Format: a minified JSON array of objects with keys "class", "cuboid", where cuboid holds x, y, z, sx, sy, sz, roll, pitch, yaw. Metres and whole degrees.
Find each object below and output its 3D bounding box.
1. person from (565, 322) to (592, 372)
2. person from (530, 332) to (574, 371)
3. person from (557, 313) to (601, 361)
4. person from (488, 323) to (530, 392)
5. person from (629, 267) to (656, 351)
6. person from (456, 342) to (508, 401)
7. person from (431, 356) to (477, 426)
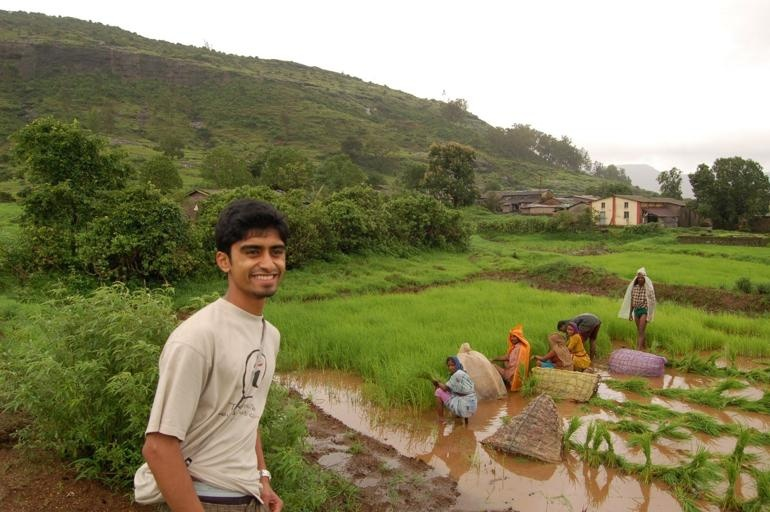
[{"class":"person","cuboid":[4.752,2.282,13.484,0.778,1.156,0.773,-4,4,6]},{"class":"person","cuboid":[4.172,2.336,12.946,0.913,0.876,0.764,-2,2,15]},{"class":"person","cuboid":[5.227,2.191,14.320,1.020,1.167,0.762,1,-21,13]},{"class":"person","cuboid":[3.043,2.480,12.951,0.989,1.577,0.756,9,0,-6]},{"class":"person","cuboid":[7.157,1.430,14.640,0.564,2.224,0.815,-2,3,8]},{"class":"person","cuboid":[2.192,2.479,12.557,0.802,1.168,1.149,-10,38,-5]},{"class":"person","cuboid":[1.502,2.747,11.297,0.789,1.203,0.401,0,3,36]}]
